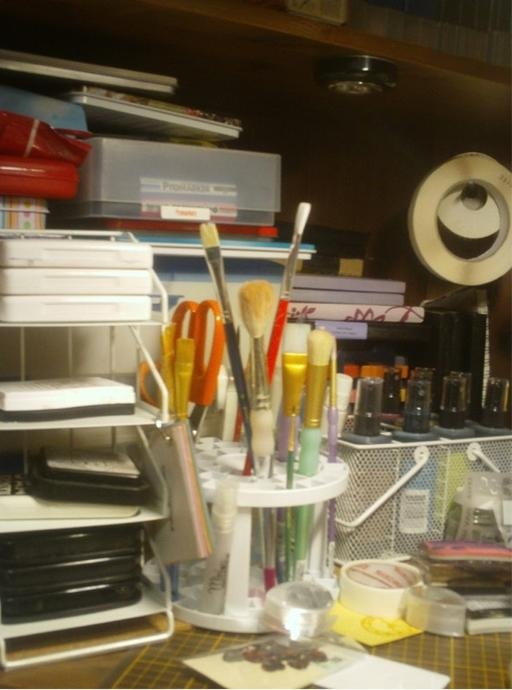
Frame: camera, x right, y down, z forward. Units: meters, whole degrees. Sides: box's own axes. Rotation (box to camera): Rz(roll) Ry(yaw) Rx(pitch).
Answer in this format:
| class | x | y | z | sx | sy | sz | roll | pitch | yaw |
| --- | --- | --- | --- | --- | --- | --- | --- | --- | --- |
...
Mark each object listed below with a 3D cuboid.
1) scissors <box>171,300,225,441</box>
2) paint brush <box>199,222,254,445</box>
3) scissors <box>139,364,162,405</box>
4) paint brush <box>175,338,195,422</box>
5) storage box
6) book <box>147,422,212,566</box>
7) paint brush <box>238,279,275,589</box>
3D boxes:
| class | x | y | z | sx | sy | sz | roll | pitch | yaw |
| --- | --- | --- | --- | --- | --- | --- | --- | --- | --- |
| scissors | -0.056 | 0.022 | 0.575 | 0.014 | 0.126 | 0.078 | 0 | 5 | -39 |
| paint brush | -0.026 | 0.014 | 0.542 | 0.014 | 0.236 | 0.028 | -3 | 10 | 42 |
| scissors | -0.105 | 0.037 | 0.593 | 0.030 | 0.037 | 0.011 | -2 | 2 | -7 |
| paint brush | -0.066 | 0.031 | 0.544 | 0.019 | 0.070 | 0.018 | 2 | 2 | -28 |
| storage box | -0.075 | -0.171 | 0.666 | 0.214 | 0.079 | 0.032 | -4 | 8 | -28 |
| book | -0.060 | 0.116 | 0.502 | 0.026 | 0.097 | 0.103 | -11 | -3 | -10 |
| paint brush | 0.006 | 0.073 | 0.528 | 0.033 | 0.251 | 0.032 | -2 | -2 | -26 |
